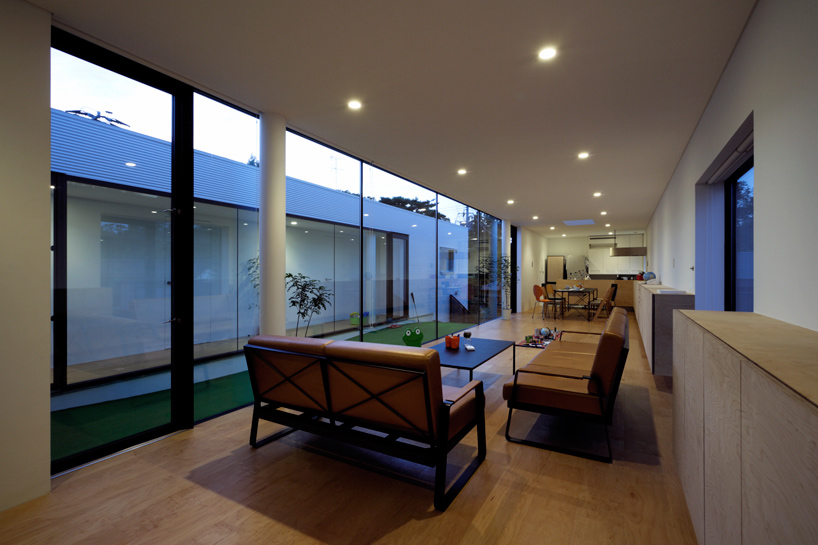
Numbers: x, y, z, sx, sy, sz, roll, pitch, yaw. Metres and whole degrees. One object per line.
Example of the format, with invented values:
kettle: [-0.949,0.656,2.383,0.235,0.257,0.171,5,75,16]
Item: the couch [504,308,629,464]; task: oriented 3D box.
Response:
couch: [2.034,1.115,6.106,1.229,1.125,2.597,0,3,25]
